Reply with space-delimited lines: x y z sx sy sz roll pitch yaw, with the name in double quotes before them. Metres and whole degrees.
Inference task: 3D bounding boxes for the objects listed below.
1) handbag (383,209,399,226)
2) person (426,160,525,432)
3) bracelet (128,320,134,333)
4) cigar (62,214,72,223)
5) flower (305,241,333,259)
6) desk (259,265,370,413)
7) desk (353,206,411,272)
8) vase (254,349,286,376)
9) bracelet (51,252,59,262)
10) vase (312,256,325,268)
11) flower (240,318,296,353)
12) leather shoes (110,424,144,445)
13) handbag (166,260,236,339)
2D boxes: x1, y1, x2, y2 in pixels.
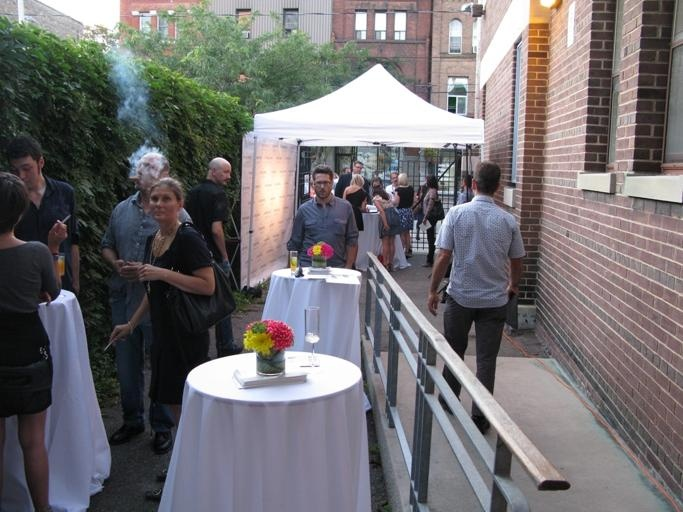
"handbag" 1.028 -0.796 12.872 0.250 0.425 0.210 2 -20 -19
"person" 1.206 0.306 5.529 0.755 2.456 0.664 7 23 17
"bracelet" -1.613 0.546 4.670 0.043 0.105 0.070 17 -17 -15
"cigar" -2.173 -0.280 4.822 0.062 0.077 0.282 4 0 -30
"flower" -0.238 -0.059 6.581 0.207 0.170 0.367 1 10 -15
"desk" -0.224 0.811 6.347 1.094 1.531 1.166 6 -3 -24
"desk" 0.908 -0.322 13.230 1.042 1.306 1.221 -1 11 -6
"vase" -0.407 0.627 3.589 0.124 0.162 0.134 2 1 9
"bracelet" -2.057 0.011 4.368 0.051 0.059 0.057 -1 11 -7
"vase" -0.248 0.064 6.445 0.100 0.120 0.112 4 1 19
"flower" -0.432 0.521 3.632 0.278 0.280 0.314 -1 -12 -13
"leather shoes" -1.857 1.534 5.273 0.117 0.127 0.264 13 3 37
"handbag" -0.994 0.311 4.330 0.473 0.527 0.242 -1 9 -22
